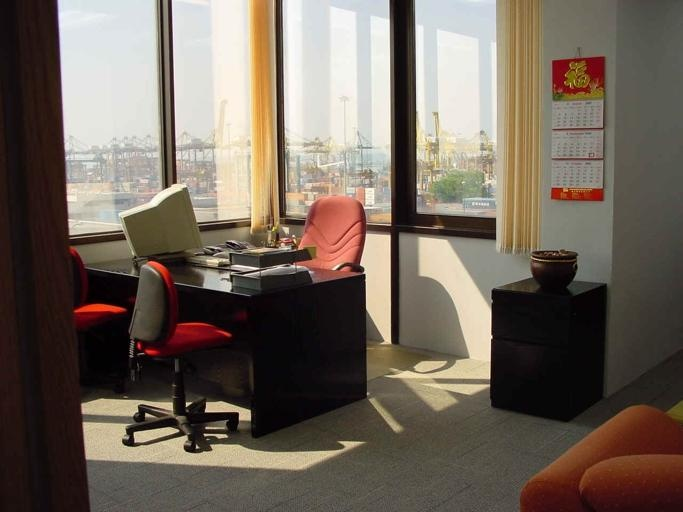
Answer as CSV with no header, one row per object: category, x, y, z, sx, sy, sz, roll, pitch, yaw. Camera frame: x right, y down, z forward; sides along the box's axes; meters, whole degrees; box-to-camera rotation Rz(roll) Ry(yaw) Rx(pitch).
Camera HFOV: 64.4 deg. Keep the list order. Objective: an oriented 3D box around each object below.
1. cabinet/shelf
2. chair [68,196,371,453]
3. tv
cabinet/shelf,1.421,0.635,3.939,0.563,0.863,0.616,3,8,35
chair,-0.801,0.333,4.219,2.302,1.464,1.771,-4,8,-20
tv,-1.621,-0.286,4.758,0.536,0.546,0.307,-17,1,23
